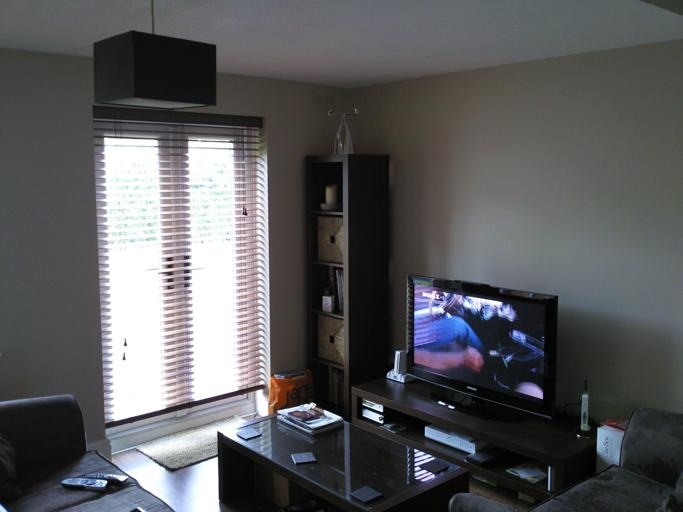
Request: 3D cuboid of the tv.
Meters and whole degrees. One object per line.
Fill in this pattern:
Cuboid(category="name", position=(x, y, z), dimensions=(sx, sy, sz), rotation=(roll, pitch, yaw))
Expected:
Cuboid(category="tv", position=(1.012, 0.643, 3.957), dimensions=(1.014, 0.757, 0.275), rotation=(6, 6, 42))

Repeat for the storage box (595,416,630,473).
Cuboid(category="storage box", position=(1.662, 1.209, 3.490), dimensions=(0.236, 0.297, 0.193), rotation=(1, 1, -41))

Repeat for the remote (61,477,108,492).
Cuboid(category="remote", position=(-1.393, 1.250, 3.104), dimensions=(0.176, 0.037, 0.099), rotation=(6, 1, -4))
